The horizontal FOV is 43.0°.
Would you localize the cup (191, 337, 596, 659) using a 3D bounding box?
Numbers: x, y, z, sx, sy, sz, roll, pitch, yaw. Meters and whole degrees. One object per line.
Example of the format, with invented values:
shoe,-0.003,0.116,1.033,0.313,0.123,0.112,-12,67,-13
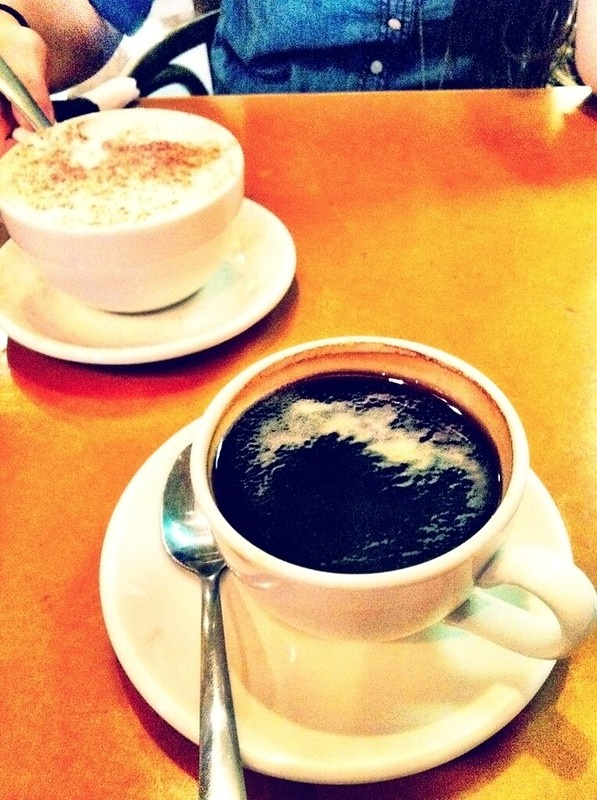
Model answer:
cup,0.035,0.038,0.330,0.154,0.082,0.142,-1,45,1
